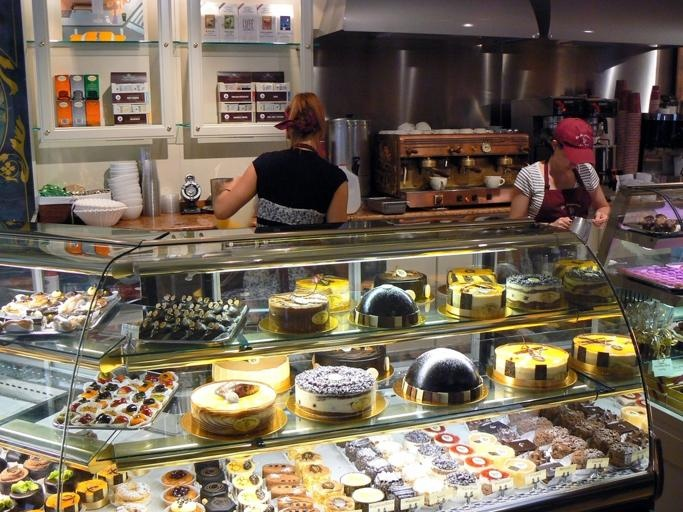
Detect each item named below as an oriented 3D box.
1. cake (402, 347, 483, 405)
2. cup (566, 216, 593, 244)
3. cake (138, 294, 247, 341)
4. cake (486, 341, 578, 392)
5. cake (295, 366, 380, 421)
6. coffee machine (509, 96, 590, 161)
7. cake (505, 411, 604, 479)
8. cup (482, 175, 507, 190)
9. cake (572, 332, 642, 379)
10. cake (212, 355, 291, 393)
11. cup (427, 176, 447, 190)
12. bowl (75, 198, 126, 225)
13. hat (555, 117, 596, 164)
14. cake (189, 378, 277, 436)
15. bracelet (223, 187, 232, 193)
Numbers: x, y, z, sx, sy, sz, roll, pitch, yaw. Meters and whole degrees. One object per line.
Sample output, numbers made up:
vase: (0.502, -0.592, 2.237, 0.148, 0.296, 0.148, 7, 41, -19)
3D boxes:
cake: (0.367, 0.402, 1.918, 0.362, 0.104, 0.297, -4, 12, 12)
cup: (0.870, -0.091, 2.025, 0.124, 0.084, 0.130, 9, -19, 3)
cake: (-0.452, 0.193, 1.655, 0.238, 0.047, 0.182, 2, 15, 7)
cake: (0.669, 0.389, 1.919, 0.225, 0.046, 0.197, -8, 13, -29)
cake: (-0.018, 0.443, 1.794, 0.264, 0.123, 0.147, -3, 15, -4)
coffee machine: (1.935, -1.080, 4.695, 0.491, 0.501, 0.518, -4, 12, 0)
cake: (0.760, 0.669, 1.959, 0.251, 0.051, 0.200, 2, 14, -2)
cup: (1.220, -0.589, 4.316, 0.177, 0.075, 0.115, 1, 3, -7)
cake: (0.967, 0.355, 2.004, 0.263, 0.069, 0.250, 8, 18, 30)
cake: (-0.296, 0.358, 1.814, 0.224, 0.055, 0.204, 0, 1, -36)
cup: (0.734, -0.562, 4.195, 0.129, 0.071, 0.128, 1, 17, 0)
bowl: (-1.506, -0.264, 3.410, 0.250, 0.098, 0.249, -1, 0, 0)
hat: (1.354, -0.648, 3.088, 0.256, 0.261, 0.201, -5, 16, -7)
cake: (-0.345, 0.467, 1.745, 0.296, 0.077, 0.238, 2, 14, 2)
bracelet: (-0.606, -0.355, 2.913, 0.036, 0.023, 0.029, 2, 2, 2)
